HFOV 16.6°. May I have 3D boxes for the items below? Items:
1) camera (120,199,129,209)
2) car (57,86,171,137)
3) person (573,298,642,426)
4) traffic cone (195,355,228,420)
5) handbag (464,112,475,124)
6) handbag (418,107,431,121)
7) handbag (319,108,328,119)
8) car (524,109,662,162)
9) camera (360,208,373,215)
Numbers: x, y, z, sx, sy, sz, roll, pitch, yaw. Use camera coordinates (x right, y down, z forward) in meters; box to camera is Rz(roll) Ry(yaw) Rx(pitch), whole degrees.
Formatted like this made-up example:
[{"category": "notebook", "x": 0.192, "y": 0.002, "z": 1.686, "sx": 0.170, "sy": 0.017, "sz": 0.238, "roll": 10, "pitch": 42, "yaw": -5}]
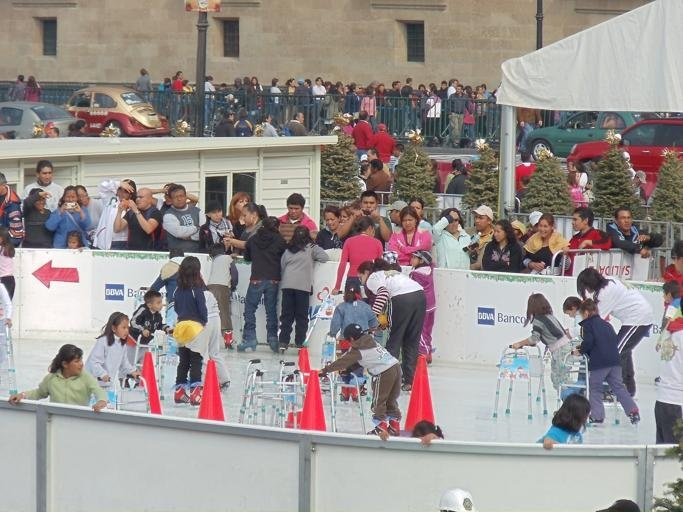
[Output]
[{"category": "camera", "x": -4.482, "y": -1.123, "z": 47.957, "sx": 0.201, "sy": 0.207, "sz": 0.249, "roll": 0, "pitch": 1, "yaw": -7}, {"category": "car", "x": -6.008, "y": -4.099, "z": 65.358, "sx": 3.271, "sy": 1.275, "sz": 1.495, "roll": 7, "pitch": 6, "yaw": 40}, {"category": "person", "x": 4.796, "y": 1.871, "z": 43.342, "sx": 0.990, "sy": 2.214, "sz": 0.563, "roll": 0, "pitch": 1, "yaw": -7}, {"category": "traffic cone", "x": -2.455, "y": 2.383, "z": 42.855, "sx": 0.450, "sy": 1.030, "sz": 0.536, "roll": -5, "pitch": 15, "yaw": -34}, {"category": "handbag", "x": 3.464, "y": -3.903, "z": 64.763, "sx": 0.236, "sy": 0.343, "sz": 0.115, "roll": -1, "pitch": 0, "yaw": 10}, {"category": "handbag", "x": 2.257, "y": -4.069, "z": 65.204, "sx": 0.321, "sy": 0.332, "sz": 0.082, "roll": 3, "pitch": -7, "yaw": 7}, {"category": "handbag", "x": -0.560, "y": -4.059, "z": 65.048, "sx": 0.246, "sy": 0.257, "sz": 0.060, "roll": 0, "pitch": 2, "yaw": -20}, {"category": "car", "x": 6.201, "y": -3.384, "z": 61.763, "sx": 3.074, "sy": 1.682, "sz": 1.789, "roll": 7, "pitch": 12, "yaw": 23}, {"category": "camera", "x": 0.478, "y": -0.963, "z": 47.119, "sx": 0.134, "sy": 0.148, "sz": 0.056, "roll": -9, "pitch": -4, "yaw": 26}]
